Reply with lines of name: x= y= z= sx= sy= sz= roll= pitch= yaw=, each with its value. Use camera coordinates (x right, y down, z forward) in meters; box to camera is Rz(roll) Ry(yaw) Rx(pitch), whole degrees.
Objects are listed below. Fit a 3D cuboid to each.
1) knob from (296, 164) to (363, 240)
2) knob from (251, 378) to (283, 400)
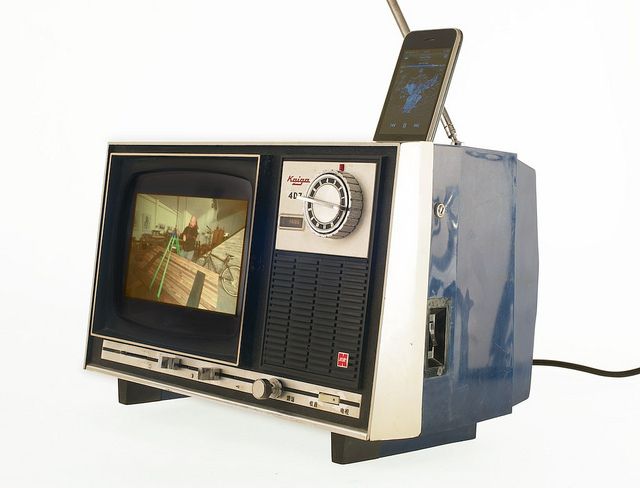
knob: x=0.039 y=-0.134 z=1.741 sx=0.246 sy=0.257 sz=0.076 roll=2 pitch=-4 yaw=42
knob: x=-0.175 y=0.477 z=1.796 sx=0.080 sy=0.076 sz=0.069 roll=-11 pitch=-14 yaw=42
